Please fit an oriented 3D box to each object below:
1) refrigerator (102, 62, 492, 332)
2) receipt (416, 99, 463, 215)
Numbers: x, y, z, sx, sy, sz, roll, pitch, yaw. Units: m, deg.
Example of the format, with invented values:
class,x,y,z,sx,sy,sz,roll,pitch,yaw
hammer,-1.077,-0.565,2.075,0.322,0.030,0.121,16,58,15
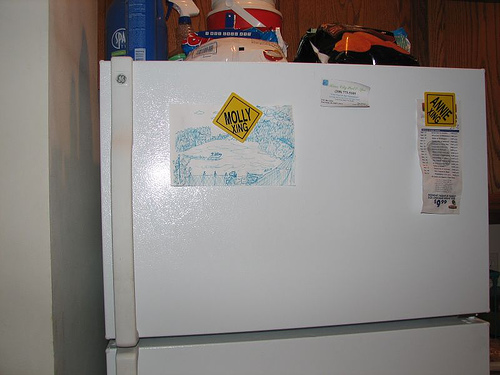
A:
class,x,y,z,sx,sy,sz,roll,pitch,yaw
refrigerator,0.125,0.023,1.263,1.065,0.764,0.644,0,5,-6
receipt,0.505,-0.084,1.184,0.132,0.325,0.005,1,-3,-7
